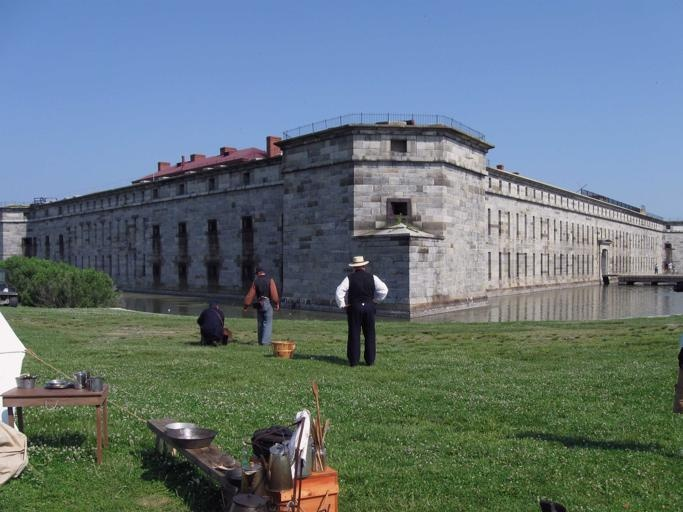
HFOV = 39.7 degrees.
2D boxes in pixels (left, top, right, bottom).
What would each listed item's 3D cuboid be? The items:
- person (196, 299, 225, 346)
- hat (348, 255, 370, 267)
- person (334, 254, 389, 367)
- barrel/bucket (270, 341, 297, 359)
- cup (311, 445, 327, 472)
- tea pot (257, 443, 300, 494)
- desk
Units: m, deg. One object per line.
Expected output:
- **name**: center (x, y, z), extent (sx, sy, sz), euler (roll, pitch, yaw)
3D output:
- **person**: center (-4.169, 2.225, 30.340), extent (0.932, 1.272, 1.013), euler (4, 6, -2)
- **hat**: center (0.461, 0.201, 27.517), extent (0.566, 0.243, 0.633), euler (-8, 0, -7)
- **person**: center (0.533, 1.655, 26.914), extent (1.119, 3.010, 1.278), euler (8, 16, 27)
- **barrel/bucket**: center (-1.722, 2.794, 28.050), extent (0.519, 0.316, 0.530), euler (-1, -5, 0)
- **cup**: center (-0.474, 4.142, 19.232), extent (0.287, 0.489, 0.194), euler (-1, 14, -4)
- **tea pot**: center (-1.227, 4.275, 19.004), extent (0.603, 0.866, 0.436), euler (-1, 14, -6)
- **desk**: center (-6.313, 4.244, 21.403), extent (2.556, 1.820, 1.595), euler (0, -5, 0)
